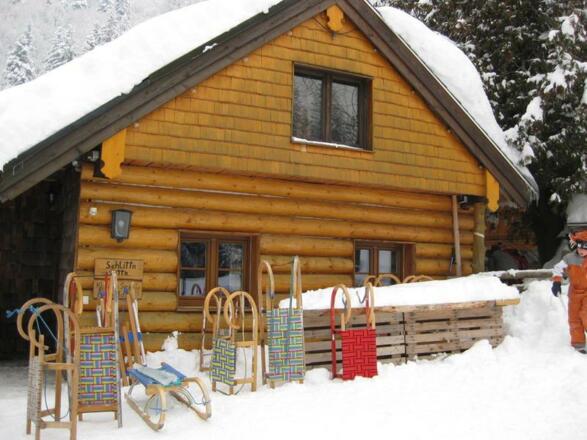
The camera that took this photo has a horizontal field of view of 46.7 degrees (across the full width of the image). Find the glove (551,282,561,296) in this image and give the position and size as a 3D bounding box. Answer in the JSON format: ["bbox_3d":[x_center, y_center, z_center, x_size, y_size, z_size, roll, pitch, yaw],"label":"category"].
[{"bbox_3d":[4.839,1.274,12.596,0.187,0.296,0.109,-2,9,8],"label":"glove"}]

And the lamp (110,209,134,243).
[{"bbox_3d":[-3.370,0.087,13.332,0.494,0.692,0.485,3,4,-27],"label":"lamp"}]
